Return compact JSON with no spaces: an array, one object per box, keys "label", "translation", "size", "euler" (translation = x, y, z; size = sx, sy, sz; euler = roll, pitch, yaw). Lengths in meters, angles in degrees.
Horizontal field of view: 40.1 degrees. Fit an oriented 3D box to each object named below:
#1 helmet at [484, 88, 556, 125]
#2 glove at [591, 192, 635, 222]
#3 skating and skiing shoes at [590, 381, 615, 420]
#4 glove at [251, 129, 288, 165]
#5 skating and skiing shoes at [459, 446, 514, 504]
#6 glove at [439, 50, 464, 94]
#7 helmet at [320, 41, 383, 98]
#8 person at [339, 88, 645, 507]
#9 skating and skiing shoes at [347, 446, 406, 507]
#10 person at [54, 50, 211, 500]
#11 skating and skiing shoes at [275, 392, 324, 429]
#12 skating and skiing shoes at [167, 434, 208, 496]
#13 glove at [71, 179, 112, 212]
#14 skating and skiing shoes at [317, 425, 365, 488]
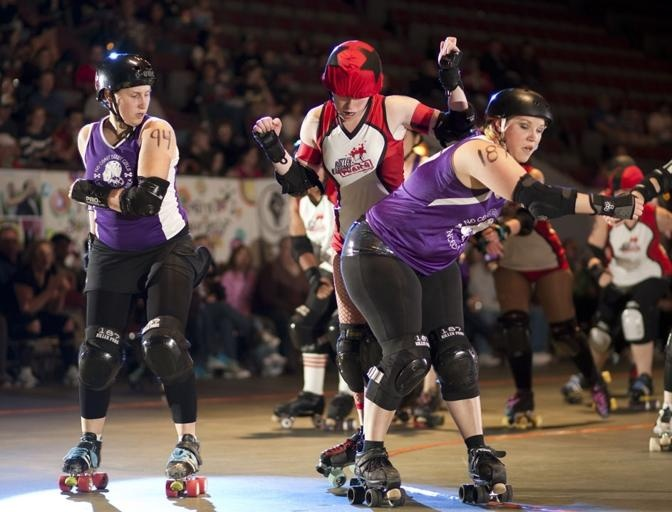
[{"label":"helmet","translation":[1.091,-0.917,5.466],"size":[0.386,0.235,0.430],"euler":[7,13,25]},{"label":"glove","translation":[1.541,-0.277,5.143],"size":[0.226,0.145,0.094],"euler":[3,-37,-11]},{"label":"skating and skiing shoes","translation":[2.303,1.210,7.931],"size":[0.122,0.364,0.162],"euler":[-10,5,28]},{"label":"glove","translation":[-0.389,-0.664,5.579],"size":[0.140,0.216,0.059],"euler":[-34,16,-5]},{"label":"skating and skiing shoes","translation":[0.864,1.240,5.172],"size":[0.194,0.244,0.393],"euler":[2,-14,-9]},{"label":"glove","translation":[0.709,-1.117,5.572],"size":[0.146,0.229,0.102],"euler":[0,16,18]},{"label":"helmet","translation":[0.116,-1.086,5.525],"size":[0.333,0.352,0.227],"euler":[4,-49,-2]},{"label":"person","translation":[0.700,0.357,5.134],"size":[1.262,2.009,0.561],"euler":[-6,-9,31]},{"label":"skating and skiing shoes","translation":[0.198,1.269,5.286],"size":[0.177,0.228,0.480],"euler":[3,-9,-21]},{"label":"person","translation":[-1.201,0.041,5.535],"size":[0.832,2.557,0.569],"euler":[0,-8,-10]},{"label":"skating and skiing shoes","translation":[-0.288,1.284,7.669],"size":[0.440,0.299,0.229],"euler":[2,-4,-7]},{"label":"skating and skiing shoes","translation":[-0.888,1.229,5.447],"size":[0.235,0.350,0.262],"euler":[0,-8,-10]},{"label":"glove","translation":[-1.450,-0.378,5.489],"size":[0.183,0.194,0.269],"euler":[5,-10,-40]},{"label":"skating and skiing shoes","translation":[0.108,1.243,5.633],"size":[0.494,0.286,0.171],"euler":[6,-4,-39]}]
